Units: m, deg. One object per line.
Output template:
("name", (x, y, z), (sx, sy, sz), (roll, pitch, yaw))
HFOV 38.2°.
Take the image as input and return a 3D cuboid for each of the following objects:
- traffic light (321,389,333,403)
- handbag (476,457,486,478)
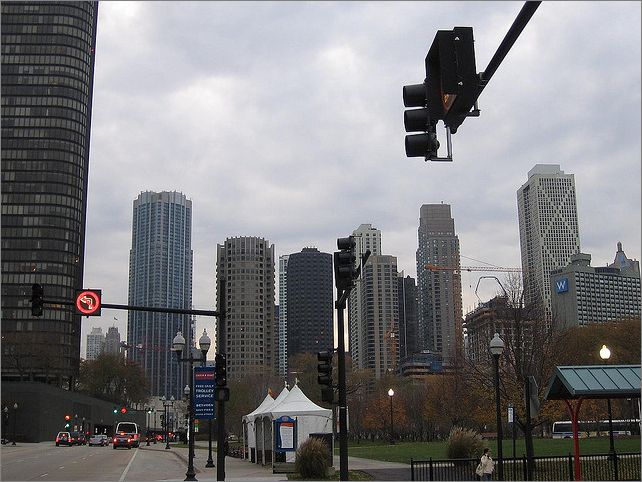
("traffic light", (0.521, 12.732, 76.478), (1.049, 1.212, 1.459), (-2, -17, -1))
("handbag", (14.011, 19.963, 81.570), (0.742, 1.625, 1.752), (-4, -17, 9))
